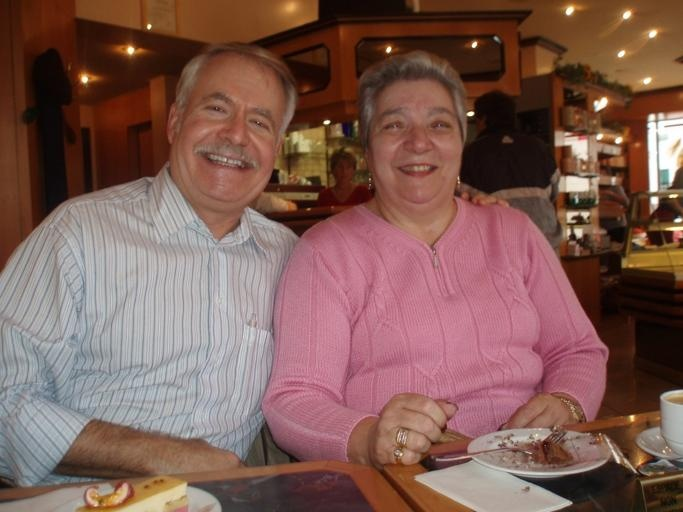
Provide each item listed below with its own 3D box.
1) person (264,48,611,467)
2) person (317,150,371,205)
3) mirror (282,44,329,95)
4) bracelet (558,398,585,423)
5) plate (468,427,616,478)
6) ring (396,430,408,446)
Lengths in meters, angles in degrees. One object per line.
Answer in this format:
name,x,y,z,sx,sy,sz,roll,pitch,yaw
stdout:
person,0.332,0.011,1.872,1.263,1.331,0.855,-10,10,-23
person,0.037,-0.767,5.903,0.662,0.704,0.371,0,4,-2
mirror,-0.307,-1.539,4.654,0.550,0.384,0.026,10,22,34
bracelet,0.710,0.468,1.717,0.077,0.030,0.064,40,17,29
plate,0.460,0.455,1.281,0.292,0.040,0.308,-7,0,20
ring,0.149,0.445,1.360,0.025,0.031,0.010,-5,-29,21
